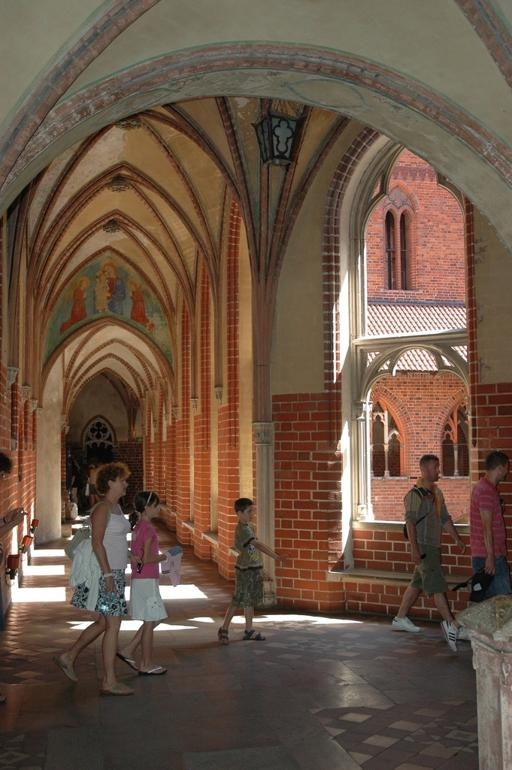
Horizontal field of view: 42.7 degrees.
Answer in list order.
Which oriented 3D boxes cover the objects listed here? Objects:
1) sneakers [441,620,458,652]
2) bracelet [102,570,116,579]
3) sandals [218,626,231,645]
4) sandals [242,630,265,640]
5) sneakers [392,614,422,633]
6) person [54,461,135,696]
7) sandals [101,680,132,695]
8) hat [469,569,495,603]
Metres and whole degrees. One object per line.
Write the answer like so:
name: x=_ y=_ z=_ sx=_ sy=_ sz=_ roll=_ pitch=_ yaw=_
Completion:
sneakers: x=1.673 y=2.134 z=5.596 sx=0.125 sy=0.263 sz=0.089 roll=-14 pitch=-13 yaw=8
bracelet: x=-0.921 y=1.178 z=4.071 sx=0.096 sy=0.035 sz=0.097 roll=1 pitch=-3 yaw=-5
sandals: x=-0.284 y=2.199 z=5.798 sx=0.050 sy=0.166 sz=0.071 roll=4 pitch=5 yaw=40
sandals: x=-0.022 y=2.263 z=5.935 sx=0.190 sy=0.072 sz=0.092 roll=0 pitch=1 yaw=-12
sneakers: x=1.423 y=2.284 z=6.286 sx=0.321 sy=0.133 sz=0.111 roll=3 pitch=-1 yaw=3
person: x=-1.054 y=1.270 z=4.372 sx=0.449 sy=1.472 sz=0.832 roll=3 pitch=-12 yaw=-15
sandals: x=-0.894 y=1.950 z=4.187 sx=0.198 sy=0.137 sz=0.073 roll=-1 pitch=-8 yaw=-1
hat: x=1.708 y=1.517 z=4.946 sx=0.164 sy=0.226 sz=0.142 roll=-4 pitch=-12 yaw=16
